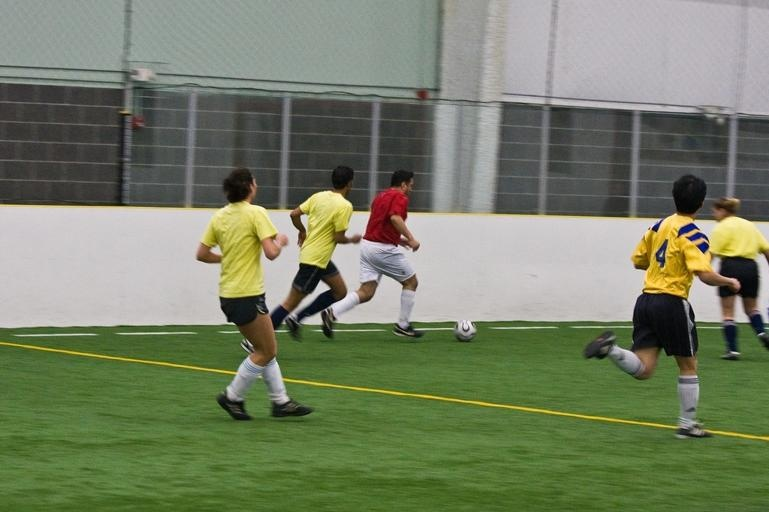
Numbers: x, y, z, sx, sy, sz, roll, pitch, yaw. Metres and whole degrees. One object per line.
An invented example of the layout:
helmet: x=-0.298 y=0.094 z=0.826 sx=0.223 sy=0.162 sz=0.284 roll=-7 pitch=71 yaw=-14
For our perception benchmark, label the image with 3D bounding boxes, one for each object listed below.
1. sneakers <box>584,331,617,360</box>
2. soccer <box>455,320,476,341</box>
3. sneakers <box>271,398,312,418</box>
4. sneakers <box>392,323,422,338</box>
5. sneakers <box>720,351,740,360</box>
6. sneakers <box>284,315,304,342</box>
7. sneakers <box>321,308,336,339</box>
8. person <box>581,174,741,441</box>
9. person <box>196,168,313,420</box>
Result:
sneakers: x=2.166 y=0.870 z=9.947 sx=0.387 sy=0.158 sz=0.188 roll=-28 pitch=-3 yaw=-39
soccer: x=1.173 y=1.071 z=14.861 sx=0.286 sy=0.285 sz=0.295 roll=2 pitch=9 yaw=4
sneakers: x=-0.921 y=1.525 z=10.275 sx=0.501 sy=0.167 sz=0.155 roll=0 pitch=-4 yaw=0
sneakers: x=0.407 y=1.075 z=14.823 sx=0.511 sy=0.181 sz=0.164 roll=5 pitch=4 yaw=-11
sneakers: x=4.651 y=1.335 z=13.793 sx=0.268 sy=0.095 sz=0.099 roll=3 pitch=1 yaw=40
sneakers: x=-1.195 y=0.997 z=13.783 sx=0.177 sy=0.435 sz=0.205 roll=-23 pitch=26 yaw=-12
sneakers: x=-0.787 y=0.916 z=14.081 sx=0.179 sy=0.437 sz=0.229 roll=4 pitch=17 yaw=30
person: x=2.760 y=0.489 z=9.969 sx=1.101 sy=2.536 sz=0.905 roll=-6 pitch=13 yaw=-38
person: x=-1.342 y=0.393 z=10.153 sx=0.693 sy=2.485 sz=1.027 roll=-7 pitch=13 yaw=-40
